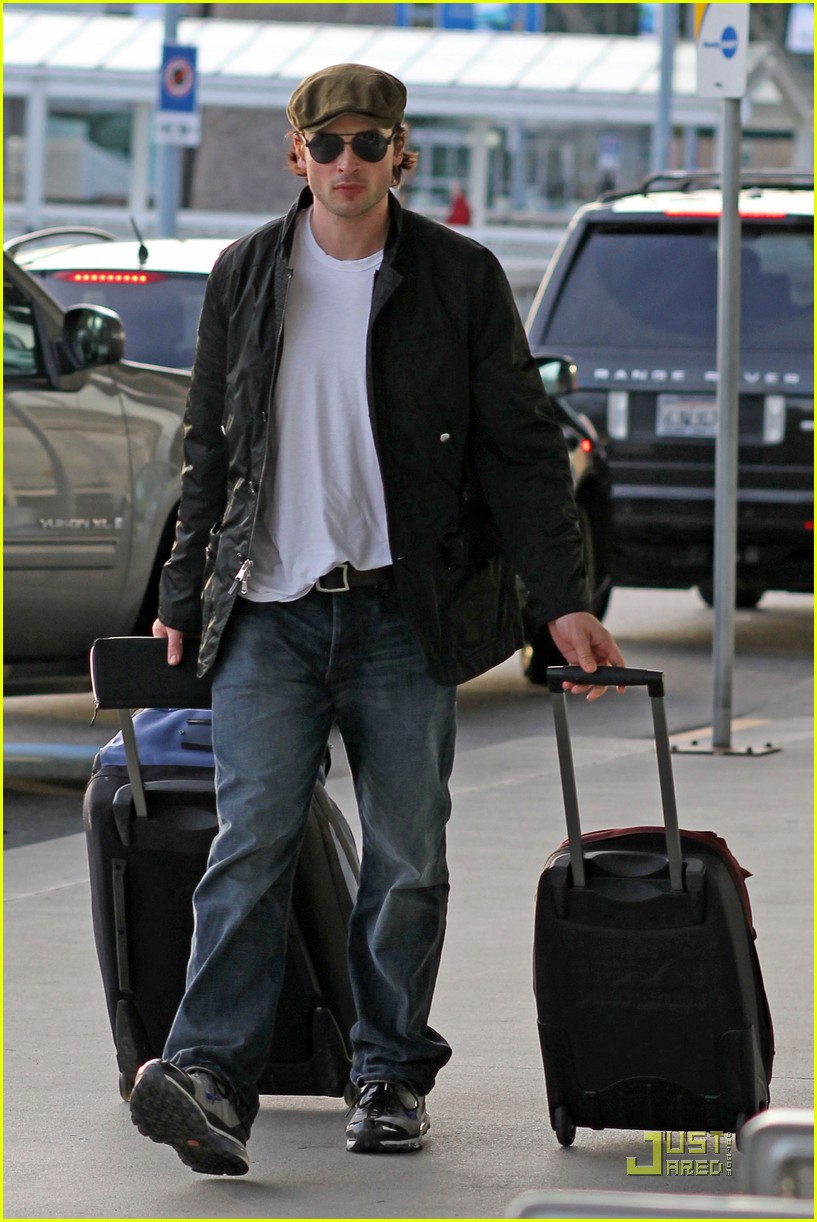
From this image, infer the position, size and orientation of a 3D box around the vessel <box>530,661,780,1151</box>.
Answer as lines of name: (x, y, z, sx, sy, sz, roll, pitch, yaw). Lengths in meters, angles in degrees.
vessel: (0.425, 0.518, 3.174, 0.444, 0.824, 0.330, -5, 5, 14)

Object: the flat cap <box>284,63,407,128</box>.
flat cap: (-0.113, -0.924, 3.238, 0.216, 0.139, 0.215, -1, 5, -3)

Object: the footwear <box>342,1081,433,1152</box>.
footwear: (-0.036, 0.918, 3.283, 0.081, 0.083, 0.196, 4, 2, 8)

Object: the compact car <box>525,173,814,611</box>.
compact car: (1.628, -1.323, 10.810, 1.448, 1.291, 2.454, 1, 6, 9)

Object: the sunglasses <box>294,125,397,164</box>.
sunglasses: (-0.107, -0.814, 3.163, 0.147, 0.071, 0.080, -1, 5, -3)

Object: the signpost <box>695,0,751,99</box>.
signpost: (1.334, -2.378, 7.586, 0.215, 0.428, 0.416, 0, 5, 9)

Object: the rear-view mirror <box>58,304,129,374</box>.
rear-view mirror: (-1.294, -1.076, 7.135, 0.204, 0.259, 0.347, -3, 6, -29)

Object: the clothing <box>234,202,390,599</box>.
clothing: (-0.160, -0.356, 3.186, 0.252, 0.665, 0.153, 0, 6, 3)

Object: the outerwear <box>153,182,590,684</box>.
outerwear: (-0.075, -0.345, 3.363, 0.902, 0.790, 0.473, 7, 13, 27)
